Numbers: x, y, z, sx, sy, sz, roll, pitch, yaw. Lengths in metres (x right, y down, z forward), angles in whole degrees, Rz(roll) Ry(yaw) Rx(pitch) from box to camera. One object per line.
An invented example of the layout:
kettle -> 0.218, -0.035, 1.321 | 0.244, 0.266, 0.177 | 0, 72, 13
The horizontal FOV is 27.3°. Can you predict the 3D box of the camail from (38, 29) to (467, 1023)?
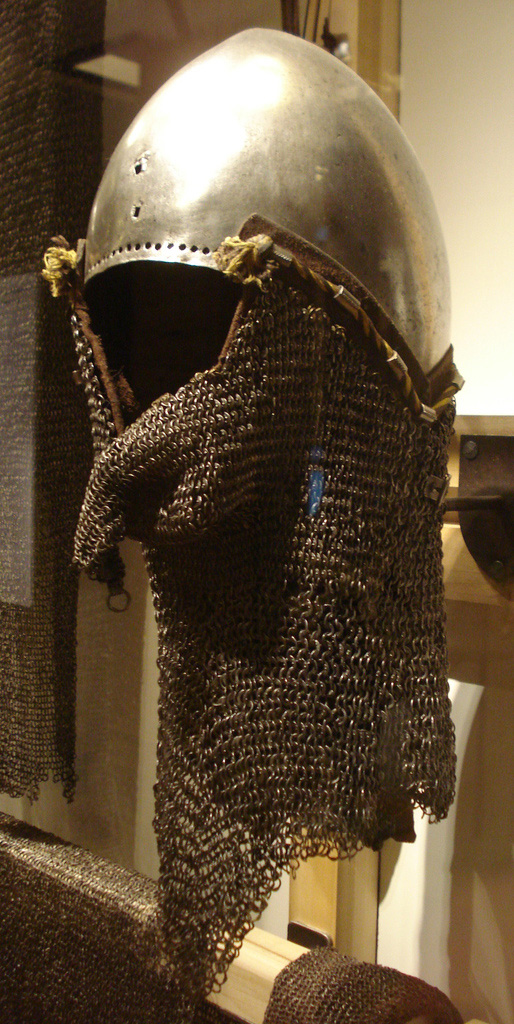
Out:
camail -> 0.012, 0.000, 0.928 | 0.354, 0.842, 0.240 | 3, 10, -8
